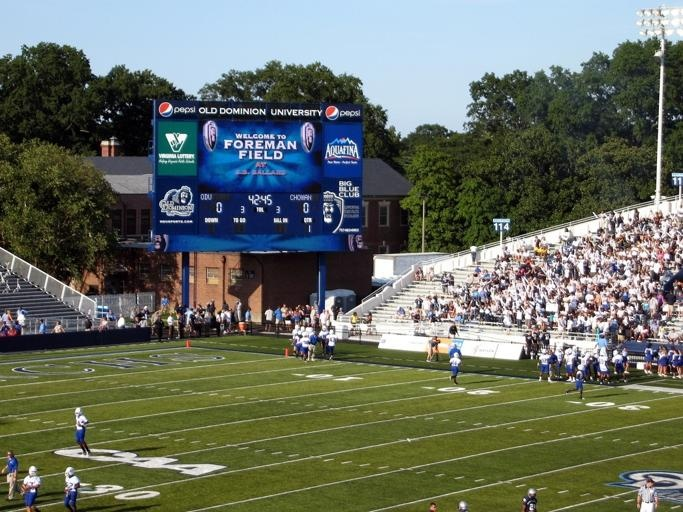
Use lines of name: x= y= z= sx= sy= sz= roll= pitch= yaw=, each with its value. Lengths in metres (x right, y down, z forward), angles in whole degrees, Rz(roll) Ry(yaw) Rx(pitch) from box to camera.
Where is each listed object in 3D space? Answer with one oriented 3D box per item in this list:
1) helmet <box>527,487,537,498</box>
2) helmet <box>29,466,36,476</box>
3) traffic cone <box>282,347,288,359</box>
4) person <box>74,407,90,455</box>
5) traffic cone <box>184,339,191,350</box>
helmet: x=6.422 y=8.030 z=49.954 sx=0.342 sy=0.426 sz=0.451 roll=0 pitch=-19 yaw=4
helmet: x=-10.700 y=7.476 z=50.992 sx=0.254 sy=0.300 sz=0.324 roll=1 pitch=2 yaw=-6
traffic cone: x=-2.803 y=4.896 z=74.058 sx=0.332 sy=0.627 sz=0.341 roll=-1 pitch=2 yaw=14
person: x=-9.803 y=6.701 z=56.004 sx=0.529 sy=1.799 sz=1.499 roll=2 pitch=-4 yaw=-11
traffic cone: x=-8.076 y=4.663 z=77.212 sx=0.386 sy=0.438 sz=0.394 roll=1 pitch=0 yaw=2
